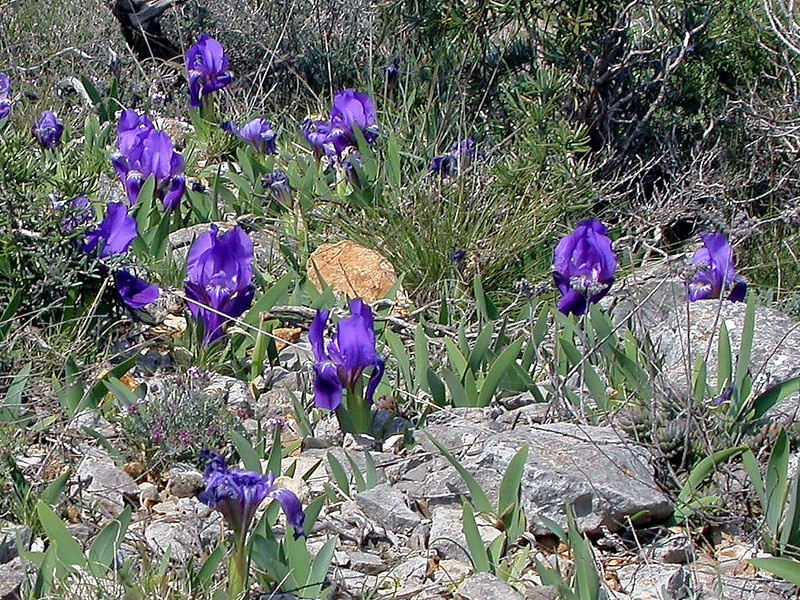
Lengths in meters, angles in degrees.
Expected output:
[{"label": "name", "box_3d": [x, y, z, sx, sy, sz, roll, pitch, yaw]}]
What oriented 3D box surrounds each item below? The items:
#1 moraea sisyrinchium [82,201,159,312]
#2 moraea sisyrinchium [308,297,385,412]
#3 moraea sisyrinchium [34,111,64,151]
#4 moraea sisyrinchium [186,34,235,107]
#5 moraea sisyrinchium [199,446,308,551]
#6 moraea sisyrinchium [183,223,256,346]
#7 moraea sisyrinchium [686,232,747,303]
[{"label": "moraea sisyrinchium", "box_3d": [-1.128, -0.194, 4.015, 0.234, 0.148, 0.488, -7, 66, -29]}, {"label": "moraea sisyrinchium", "box_3d": [-0.208, 0.217, 3.707, 0.233, 0.532, 0.268, -6, 26, -20]}, {"label": "moraea sisyrinchium", "box_3d": [-1.783, -0.859, 5.007, 0.144, 0.213, 0.139, 19, 23, 35]}, {"label": "moraea sisyrinchium", "box_3d": [-1.137, -1.383, 6.022, 0.334, 0.424, 0.330, 4, 7, 37]}, {"label": "moraea sisyrinchium", "box_3d": [-0.447, 0.603, 2.980, 0.323, 0.211, 0.321, 12, 7, 0]}, {"label": "moraea sisyrinchium", "box_3d": [-0.773, -0.048, 3.992, 0.222, 0.483, 0.213, 0, -11, -16]}, {"label": "moraea sisyrinchium", "box_3d": [1.240, -0.130, 3.978, 0.141, 0.349, 0.325, 16, 8, 11]}]
